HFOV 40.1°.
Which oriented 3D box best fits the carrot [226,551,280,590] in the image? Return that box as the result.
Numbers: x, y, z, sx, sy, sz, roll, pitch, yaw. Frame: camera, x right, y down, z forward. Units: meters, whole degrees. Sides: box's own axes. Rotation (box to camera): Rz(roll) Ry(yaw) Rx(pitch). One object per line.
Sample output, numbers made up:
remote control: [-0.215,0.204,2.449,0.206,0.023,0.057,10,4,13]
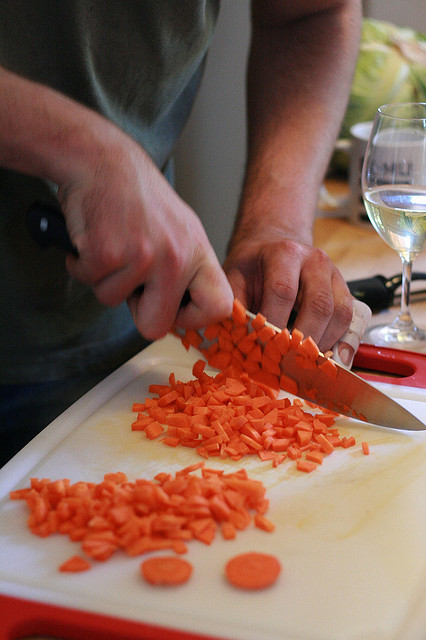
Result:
carrot: [0.037,0.235,0.552,0.049,0.021,0.044,6,38,-3]

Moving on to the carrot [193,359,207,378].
carrot: [-0.022,0.077,0.922,0.015,0.029,0.008,21,7,3]

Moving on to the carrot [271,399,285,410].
carrot: [0.092,0.119,0.824,0.022,0.015,0.012,4,79,-7]

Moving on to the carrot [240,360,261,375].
carrot: [0.054,0.066,0.851,0.021,0.021,0.006,31,53,13]

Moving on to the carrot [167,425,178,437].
carrot: [-0.054,0.148,0.785,0.013,0.013,0.013,-7,10,-28]

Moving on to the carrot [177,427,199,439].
carrot: [-0.034,0.149,0.770,0.017,0.007,0.017,2,8,-30]

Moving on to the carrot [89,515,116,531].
carrot: [-0.111,0.205,0.585,0.024,0.009,0.012,20,40,14]

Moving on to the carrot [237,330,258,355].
carrot: [0.053,0.031,0.828,0.027,0.037,0.008,56,37,-7]

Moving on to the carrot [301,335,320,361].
carrot: [0.131,0.038,0.784,0.009,0.028,0.028,-30,80,-42]

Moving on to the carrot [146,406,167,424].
carrot: [-0.078,0.132,0.820,0.016,0.008,0.026,-41,50,-19]

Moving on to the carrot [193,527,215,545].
carrot: [-0.008,0.218,0.595,0.020,0.011,0.018,27,42,22]

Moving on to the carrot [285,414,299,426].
carrot: [0.106,0.136,0.794,0.014,0.014,0.014,29,73,4]

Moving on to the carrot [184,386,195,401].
carrot: [-0.035,0.109,0.862,0.016,0.004,0.016,30,67,-38]

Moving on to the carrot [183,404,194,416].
carrot: [-0.032,0.125,0.808,0.012,0.013,0.013,3,12,-31]

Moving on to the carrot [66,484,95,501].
carrot: [-0.142,0.183,0.625,0.017,0.005,0.018,15,12,37]

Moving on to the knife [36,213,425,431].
knife: [0.008,0.014,0.877,0.622,0.088,0.051,34,5,-16]

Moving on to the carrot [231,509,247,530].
carrot: [0.028,0.206,0.609,0.005,0.017,0.016,-37,71,-20]

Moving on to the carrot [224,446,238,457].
carrot: [0.024,0.167,0.741,0.015,0.006,0.009,35,54,20]

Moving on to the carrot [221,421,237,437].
carrot: [0.020,0.144,0.773,0.016,0.016,0.016,31,26,-53]

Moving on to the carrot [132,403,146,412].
carrot: [-0.111,0.128,0.857,0.013,0.004,0.013,4,22,3]

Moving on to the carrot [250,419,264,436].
carrot: [0.059,0.141,0.777,0.017,0.020,0.006,59,26,-4]

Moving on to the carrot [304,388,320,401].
carrot: [0.138,0.103,0.821,0.004,0.017,0.017,-41,92,-30]

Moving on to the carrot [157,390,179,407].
carrot: [-0.065,0.114,0.847,0.021,0.022,0.009,-34,92,-47]

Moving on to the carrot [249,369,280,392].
carrot: [0.077,0.086,0.855,0.017,0.019,0.059,1,14,-42]

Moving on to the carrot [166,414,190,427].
carrot: [-0.047,0.136,0.784,0.026,0.016,0.009,-3,5,30]

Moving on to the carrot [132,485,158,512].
carrot: [-0.070,0.184,0.606,0.023,0.008,0.023,26,45,-6]

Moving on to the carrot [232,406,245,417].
carrot: [0.036,0.125,0.799,0.013,0.012,0.013,0,1,-5]

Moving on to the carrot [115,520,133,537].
carrot: [-0.087,0.206,0.581,0.011,0.021,0.007,56,20,5]

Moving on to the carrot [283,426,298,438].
carrot: [0.102,0.147,0.773,0.013,0.010,0.014,37,25,15]

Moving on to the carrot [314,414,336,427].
carrot: [0.158,0.139,0.818,0.019,0.007,0.020,-8,30,-13]

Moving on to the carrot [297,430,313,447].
carrot: [0.120,0.153,0.764,0.016,0.009,0.019,6,35,4]

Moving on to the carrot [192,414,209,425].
carrot: [-0.016,0.134,0.786,0.024,0.016,0.013,22,70,-8]

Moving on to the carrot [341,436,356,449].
carrot: [0.174,0.158,0.754,0.016,0.007,0.009,-33,63,-18]

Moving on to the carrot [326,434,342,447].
carrot: [0.158,0.157,0.764,0.013,0.004,0.014,10,21,4]

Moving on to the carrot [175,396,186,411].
carrot: [-0.046,0.119,0.834,0.013,0.016,0.017,-12,27,32]

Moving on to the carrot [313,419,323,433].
carrot: [0.141,0.143,0.792,0.011,0.005,0.022,-13,21,9]

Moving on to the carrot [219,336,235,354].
carrot: [0.018,0.034,0.843,0.022,0.024,0.006,26,55,28]

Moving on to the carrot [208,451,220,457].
carrot: [0.001,0.171,0.749,0.009,0.003,0.009,-5,43,-5]

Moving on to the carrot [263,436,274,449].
carrot: [0.071,0.158,0.754,0.005,0.013,0.013,35,31,16]

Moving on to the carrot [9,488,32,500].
carrot: [-0.221,0.198,0.667,0.016,0.006,0.016,-6,8,8]

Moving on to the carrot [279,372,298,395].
carrot: [0.107,0.090,0.832,0.030,0.030,0.010,23,48,26]

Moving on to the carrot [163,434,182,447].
carrot: [-0.052,0.159,0.767,0.017,0.007,0.017,11,14,31]

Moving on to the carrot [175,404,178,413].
carrot: [-0.052,0.127,0.834,0.006,0.008,0.008,1,8,2]
